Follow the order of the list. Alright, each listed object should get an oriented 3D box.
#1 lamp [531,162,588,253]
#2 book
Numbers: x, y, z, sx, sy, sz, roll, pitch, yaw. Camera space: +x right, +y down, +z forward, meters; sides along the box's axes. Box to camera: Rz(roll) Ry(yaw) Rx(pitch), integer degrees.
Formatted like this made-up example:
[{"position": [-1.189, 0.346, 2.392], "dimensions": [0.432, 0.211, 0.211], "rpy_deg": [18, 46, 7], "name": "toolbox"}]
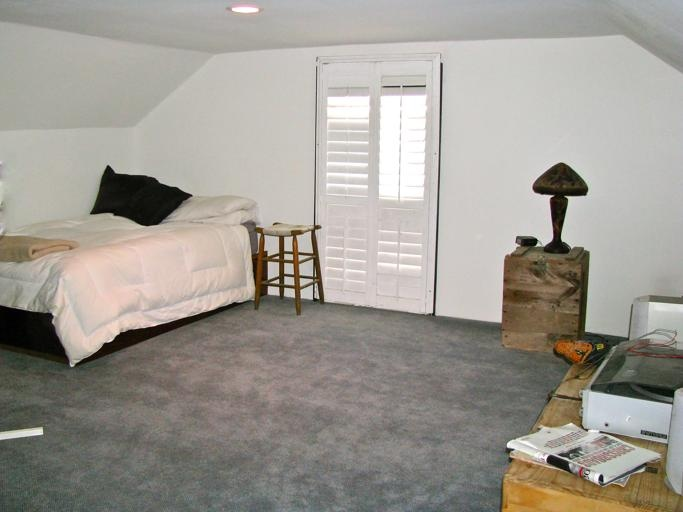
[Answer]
[{"position": [1.502, -0.349, 3.558], "dimensions": [0.334, 0.594, 0.416], "rpy_deg": [7, 15, 22], "name": "lamp"}, {"position": [0.722, 0.594, 1.547], "dimensions": [0.198, 0.028, 0.183], "rpy_deg": [-10, 11, -35], "name": "book"}]
